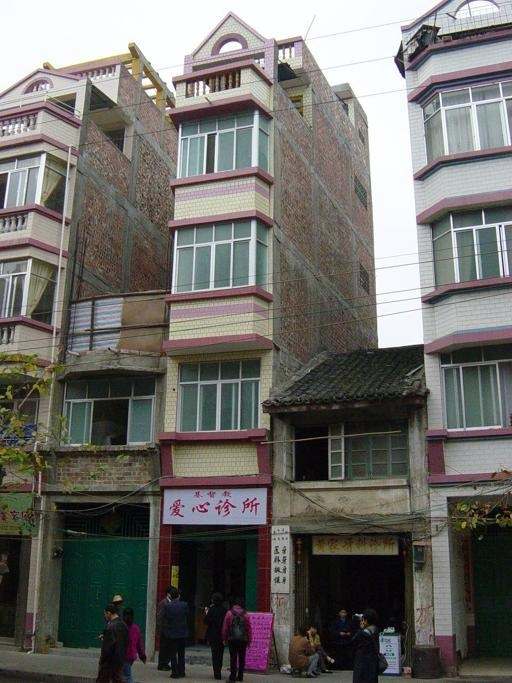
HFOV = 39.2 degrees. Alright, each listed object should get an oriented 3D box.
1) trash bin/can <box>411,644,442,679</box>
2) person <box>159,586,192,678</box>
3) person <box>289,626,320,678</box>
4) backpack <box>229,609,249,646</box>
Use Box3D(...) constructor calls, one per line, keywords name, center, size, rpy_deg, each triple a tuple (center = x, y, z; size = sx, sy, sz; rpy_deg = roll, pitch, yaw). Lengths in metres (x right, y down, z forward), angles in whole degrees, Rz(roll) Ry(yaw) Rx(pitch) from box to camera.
Box3D(name="trash bin/can", center=(3.157, 5.900, 13.353), size=(0.595, 0.514, 0.559), rpy_deg=(5, -20, -8))
Box3D(name="person", center=(-1.493, 5.359, 13.313), size=(0.454, 1.502, 1.263), rpy_deg=(2, -18, -6))
Box3D(name="person", center=(0.940, 5.981, 13.714), size=(0.600, 0.714, 0.447), rpy_deg=(2, -18, -9))
Box3D(name="backpack", center=(-0.268, 4.781, 12.075), size=(0.360, 0.506, 0.230), rpy_deg=(2, -18, -9))
